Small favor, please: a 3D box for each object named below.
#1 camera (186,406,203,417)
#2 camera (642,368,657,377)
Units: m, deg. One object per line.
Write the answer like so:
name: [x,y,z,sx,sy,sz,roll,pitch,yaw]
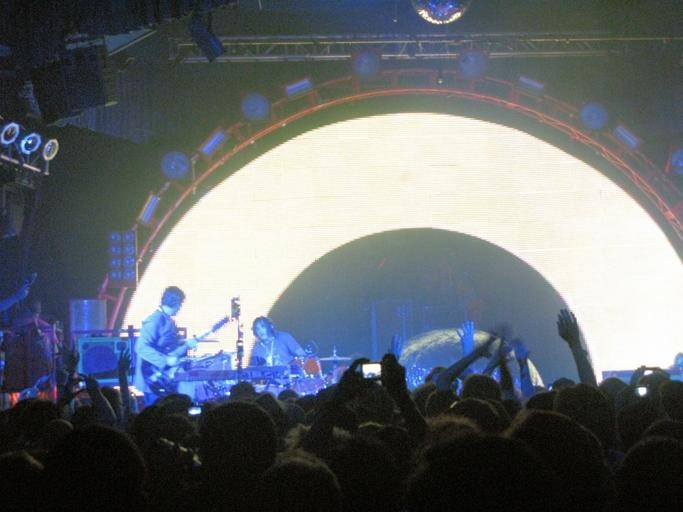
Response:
camera: [-1.863,2.016,13.506,0.218,0.144,0.115,0,-7,-1]
camera: [4.162,1.597,14.343,0.135,0.050,0.127,-5,-7,-30]
